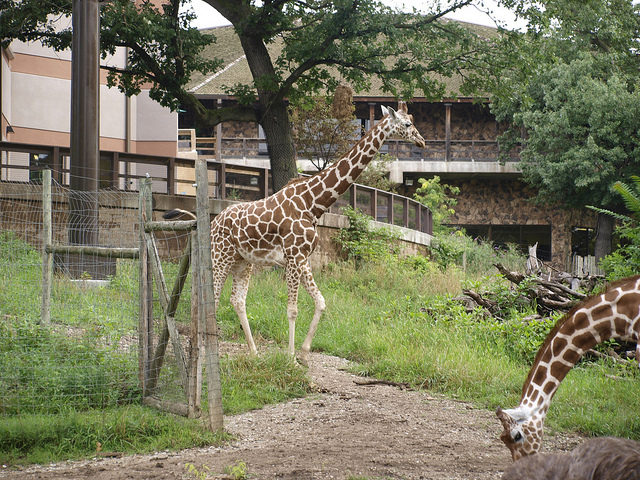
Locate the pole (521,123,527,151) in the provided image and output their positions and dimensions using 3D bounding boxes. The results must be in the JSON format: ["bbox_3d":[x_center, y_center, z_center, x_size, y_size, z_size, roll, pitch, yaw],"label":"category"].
[{"bbox_3d":[7.551,-3.754,44.247,0.209,0.787,0.893,1,-2,10],"label":"pole"}]

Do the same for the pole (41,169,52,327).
[{"bbox_3d":[-6.087,0.165,26.579,0.229,3.449,0.606,2,-2,-14],"label":"pole"}]

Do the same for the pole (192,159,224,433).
[{"bbox_3d":[-2.251,1.152,24.394,0.698,5.546,0.579,1,-1,-3],"label":"pole"}]
